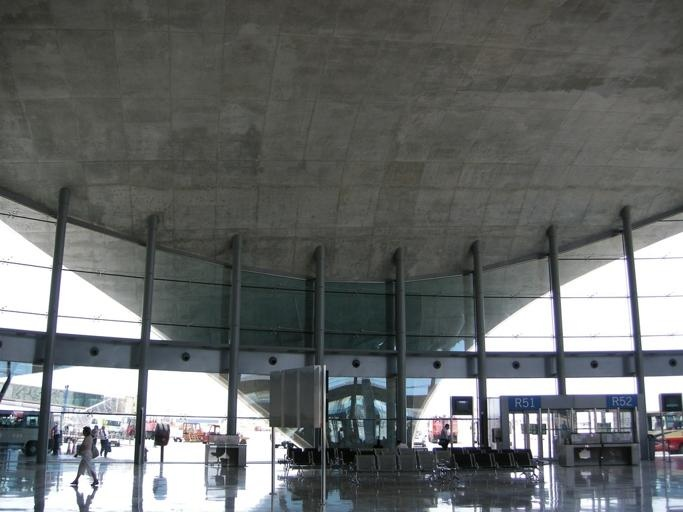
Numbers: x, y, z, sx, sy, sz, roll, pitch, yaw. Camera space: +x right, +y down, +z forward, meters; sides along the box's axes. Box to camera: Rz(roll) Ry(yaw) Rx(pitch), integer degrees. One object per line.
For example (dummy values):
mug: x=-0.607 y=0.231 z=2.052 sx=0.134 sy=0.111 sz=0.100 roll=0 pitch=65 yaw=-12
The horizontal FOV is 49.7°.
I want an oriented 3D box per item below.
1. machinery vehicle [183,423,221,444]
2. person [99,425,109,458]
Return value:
machinery vehicle: x=-6.249 y=7.685 z=32.261 sx=1.809 sy=0.792 sz=0.995 roll=4 pitch=-14 yaw=-5
person: x=-9.893 y=7.737 z=30.894 sx=0.458 sy=1.193 sz=0.489 roll=-2 pitch=-19 yaw=0
